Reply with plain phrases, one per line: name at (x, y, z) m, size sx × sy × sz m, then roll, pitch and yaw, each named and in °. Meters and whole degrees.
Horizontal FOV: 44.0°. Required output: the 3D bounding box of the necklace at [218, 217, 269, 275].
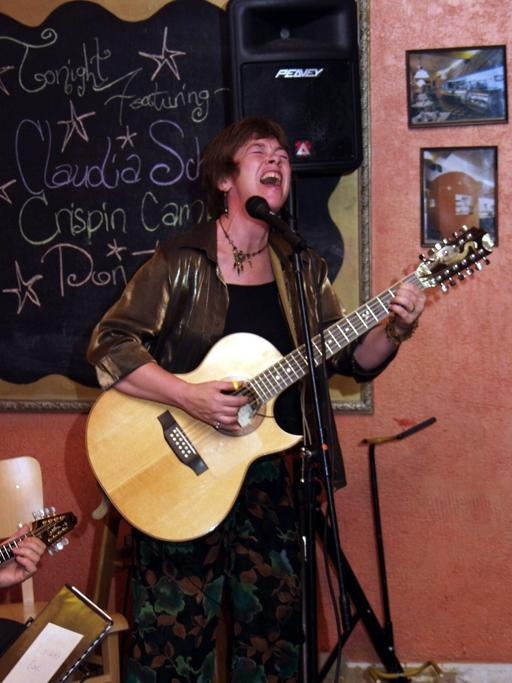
necklace at (-0.037, -0.266, 1.822) m, size 0.160 × 0.144 × 0.045 m, roll 20°, pitch -28°, yaw -36°

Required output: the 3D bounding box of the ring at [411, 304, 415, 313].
ring at (0.388, -0.080, 1.562) m, size 0.008 × 0.015 × 0.002 m, roll 12°, pitch 12°, yaw -9°

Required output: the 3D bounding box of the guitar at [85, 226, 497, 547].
guitar at (0.159, 0.078, 1.825) m, size 1.381 × 0.516 × 0.180 m, roll -33°, pitch -5°, yaw -9°

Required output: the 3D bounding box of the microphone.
microphone at (0.038, -0.272, 1.475) m, size 0.112 × 0.140 × 0.273 m, roll -6°, pitch 8°, yaw -1°
